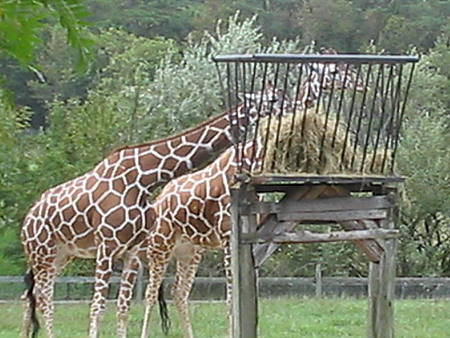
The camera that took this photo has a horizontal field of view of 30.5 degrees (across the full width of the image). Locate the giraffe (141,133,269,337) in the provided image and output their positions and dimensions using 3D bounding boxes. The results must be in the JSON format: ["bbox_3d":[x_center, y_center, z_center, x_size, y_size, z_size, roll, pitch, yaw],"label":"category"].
[{"bbox_3d":[-0.619,1.808,20.278,2.180,4.935,4.212,1,-3,-36],"label":"giraffe"}]
